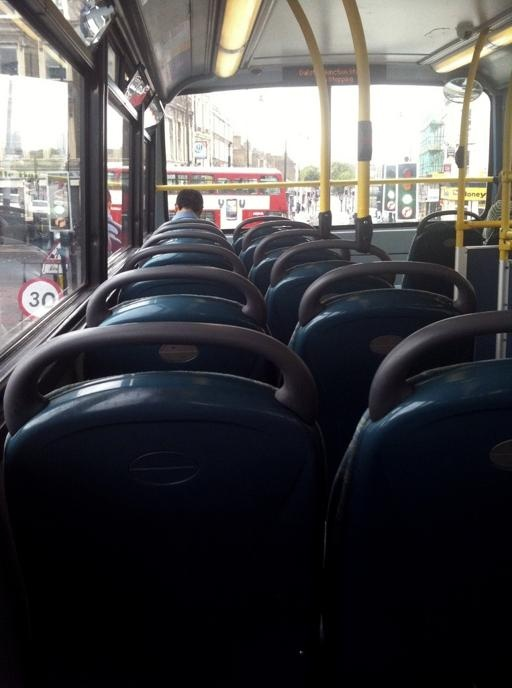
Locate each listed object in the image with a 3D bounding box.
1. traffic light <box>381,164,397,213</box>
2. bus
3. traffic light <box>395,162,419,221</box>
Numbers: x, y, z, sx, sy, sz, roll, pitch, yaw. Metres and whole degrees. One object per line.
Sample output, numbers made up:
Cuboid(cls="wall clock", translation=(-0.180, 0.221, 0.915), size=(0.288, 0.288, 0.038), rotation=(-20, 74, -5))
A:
Cuboid(cls="traffic light", translation=(2.016, -2.334, 7.441), size=(0.192, 0.803, 0.096), rotation=(2, 50, 16))
Cuboid(cls="bus", translation=(-1.033, -3.757, 12.450), size=(4.139, 2.128, 1.583), rotation=(-5, 14, -13))
Cuboid(cls="traffic light", translation=(2.272, -2.332, 7.479), size=(0.301, 1.013, 0.087), rotation=(9, 51, 24))
